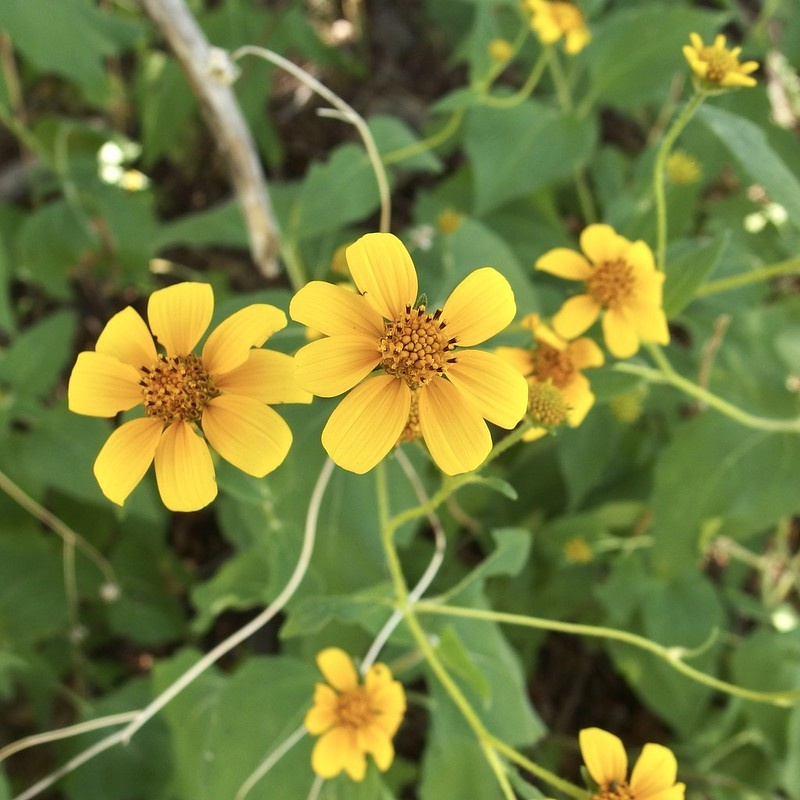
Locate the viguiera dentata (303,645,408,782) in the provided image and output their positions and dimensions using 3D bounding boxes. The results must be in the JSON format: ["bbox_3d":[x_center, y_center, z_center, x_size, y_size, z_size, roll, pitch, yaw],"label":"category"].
[{"bbox_3d":[-0.045,0.301,0.768,0.090,0.042,0.108,13,78,-4],"label":"viguiera dentata"}]

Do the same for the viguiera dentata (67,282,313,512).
[{"bbox_3d":[-0.193,0.006,0.770,0.199,0.210,0.199,-19,82,-10],"label":"viguiera dentata"}]

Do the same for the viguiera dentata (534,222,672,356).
[{"bbox_3d":[0.205,-0.123,0.839,0.146,0.146,0.045,-8,70,25],"label":"viguiera dentata"}]

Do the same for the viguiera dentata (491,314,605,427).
[{"bbox_3d":[0.172,-0.038,0.910,0.135,0.039,0.118,19,74,2],"label":"viguiera dentata"}]
